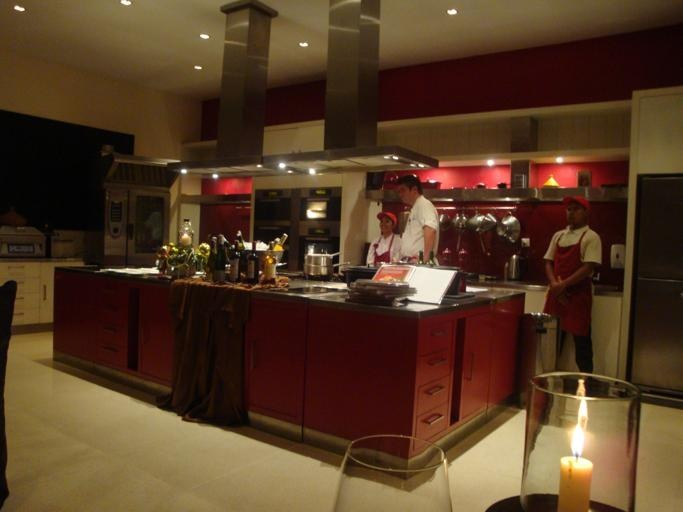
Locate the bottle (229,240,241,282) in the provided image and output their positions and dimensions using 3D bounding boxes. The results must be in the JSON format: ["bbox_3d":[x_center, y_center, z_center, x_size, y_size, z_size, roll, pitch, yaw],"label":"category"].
[{"bbox_3d":[-0.847,0.044,4.261,0.078,0.276,0.296,0,9,-10],"label":"bottle"}]

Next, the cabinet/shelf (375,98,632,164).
[{"bbox_3d":[1.761,-1.288,6.331,2.989,0.672,0.436,4,-9,34],"label":"cabinet/shelf"}]

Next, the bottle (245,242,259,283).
[{"bbox_3d":[-0.691,0.053,4.173,0.098,0.297,0.170,0,9,-11],"label":"bottle"}]

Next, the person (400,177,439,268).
[{"bbox_3d":[0.720,-0.343,5.076,0.485,0.821,0.310,8,10,36],"label":"person"}]

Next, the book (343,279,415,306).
[{"bbox_3d":[0.271,0.239,3.560,0.452,0.142,0.252,3,9,3],"label":"book"}]

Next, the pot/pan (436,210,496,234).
[{"bbox_3d":[1.474,-0.388,6.264,0.658,0.266,0.355,5,9,14],"label":"pot/pan"}]

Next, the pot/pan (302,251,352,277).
[{"bbox_3d":[-0.129,0.082,4.750,0.217,0.191,0.406,-1,-1,39],"label":"pot/pan"}]

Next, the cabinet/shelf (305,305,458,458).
[{"bbox_3d":[0.224,0.778,3.532,0.988,0.959,0.477,4,9,13],"label":"cabinet/shelf"}]

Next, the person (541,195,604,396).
[{"bbox_3d":[2.178,0.259,5.086,0.506,1.625,0.399,6,9,26],"label":"person"}]

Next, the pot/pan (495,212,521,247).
[{"bbox_3d":[1.880,-0.301,6.025,0.276,0.344,0.231,5,9,17],"label":"pot/pan"}]

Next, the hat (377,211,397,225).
[{"bbox_3d":[0.504,-0.401,5.613,0.138,0.117,0.201,12,-14,48],"label":"hat"}]

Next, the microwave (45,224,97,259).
[{"bbox_3d":[-3.615,-0.168,7.196,0.342,0.666,0.658,-1,-2,30],"label":"microwave"}]

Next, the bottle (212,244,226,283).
[{"bbox_3d":[-0.972,0.025,4.241,0.109,0.339,0.305,0,9,-13],"label":"bottle"}]

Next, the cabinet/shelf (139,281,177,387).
[{"bbox_3d":[-1.494,0.654,4.599,0.389,0.783,0.430,3,3,7],"label":"cabinet/shelf"}]

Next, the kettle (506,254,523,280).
[{"bbox_3d":[1.911,0.132,5.892,0.186,0.263,0.163,3,9,7],"label":"kettle"}]

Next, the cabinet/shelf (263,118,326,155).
[{"bbox_3d":[-0.660,-1.560,7.057,1.002,0.433,0.160,9,11,37],"label":"cabinet/shelf"}]

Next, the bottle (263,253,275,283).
[{"bbox_3d":[-0.557,0.091,4.139,0.087,0.213,0.157,1,9,-9],"label":"bottle"}]
